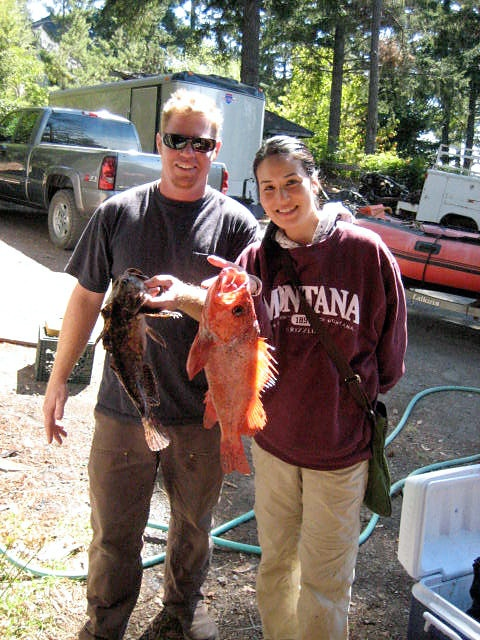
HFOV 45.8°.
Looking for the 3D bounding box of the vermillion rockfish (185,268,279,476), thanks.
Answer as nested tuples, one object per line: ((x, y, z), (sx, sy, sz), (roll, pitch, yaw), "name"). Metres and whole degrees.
((-0.020, 0.144, 1.501), (0.181, 0.568, 0.195), (7, 11, 14), "vermillion rockfish")

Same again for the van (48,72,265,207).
((-2.113, -4.100, 13.721), (3.119, 2.826, 5.323), (-8, 20, -41), "van")

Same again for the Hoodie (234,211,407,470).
((0.255, 0.075, 2.078), (0.671, 0.823, 0.351), (1, 9, 11), "Hoodie")

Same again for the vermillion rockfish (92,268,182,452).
((-0.313, 0.185, 1.778), (0.238, 0.680, 0.558), (2, 11, -8), "vermillion rockfish")
